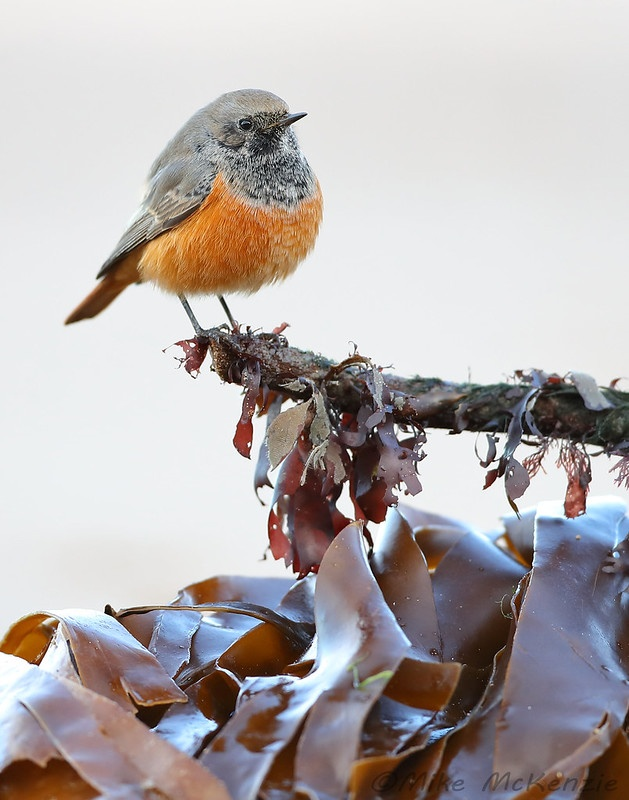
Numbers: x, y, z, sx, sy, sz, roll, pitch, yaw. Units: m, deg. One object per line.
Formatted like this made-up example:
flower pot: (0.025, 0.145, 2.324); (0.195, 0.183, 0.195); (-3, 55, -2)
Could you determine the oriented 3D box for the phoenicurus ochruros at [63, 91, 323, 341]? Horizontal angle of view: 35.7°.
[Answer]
phoenicurus ochruros: (-0.264, -0.346, 1.995); (0.610, 0.407, 0.347); (-2, 0, 37)
